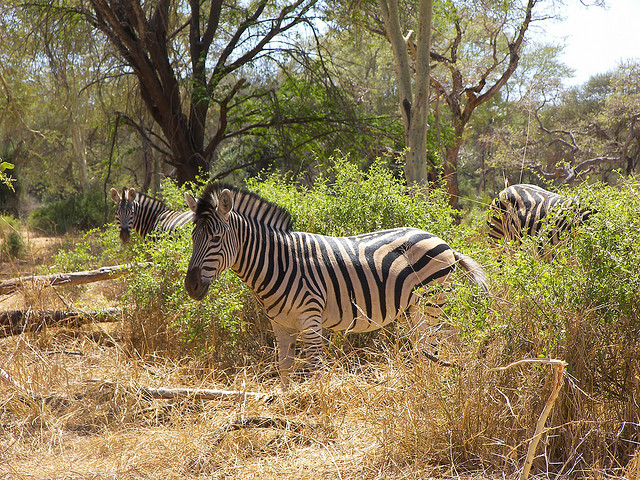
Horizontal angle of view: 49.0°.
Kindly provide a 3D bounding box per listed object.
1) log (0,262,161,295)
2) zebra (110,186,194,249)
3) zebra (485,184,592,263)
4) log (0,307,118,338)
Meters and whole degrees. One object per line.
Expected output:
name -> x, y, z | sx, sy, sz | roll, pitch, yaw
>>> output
log -> -3.561, 0.594, 10.587 | 2.280, 0.195, 0.278 | -9, -32, -30
zebra -> -2.808, -0.241, 12.107 | 0.463, 1.356, 1.660 | -4, -1, 33
zebra -> 3.066, -0.340, 10.335 | 1.115, 1.136, 3.343 | 2, 2, 13
log -> -3.680, 1.159, 9.803 | 1.932, 0.325, 0.318 | 1, 44, -34
